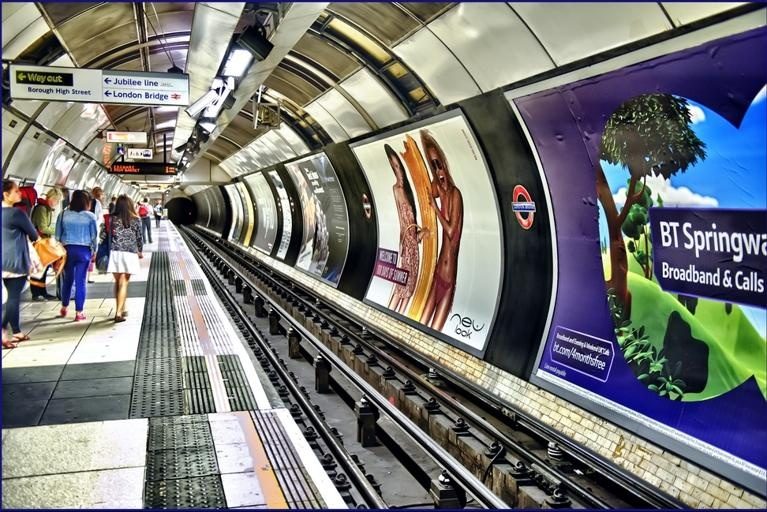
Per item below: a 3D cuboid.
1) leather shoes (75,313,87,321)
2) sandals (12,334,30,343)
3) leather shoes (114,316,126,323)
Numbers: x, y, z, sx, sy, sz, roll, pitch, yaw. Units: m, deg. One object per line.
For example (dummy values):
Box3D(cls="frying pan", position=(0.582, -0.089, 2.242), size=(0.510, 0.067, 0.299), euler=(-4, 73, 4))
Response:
Box3D(cls="leather shoes", position=(-7.181, 1.403, 8.984), size=(0.132, 0.145, 0.324), euler=(2, 5, 5))
Box3D(cls="sandals", position=(-7.129, 1.571, 7.451), size=(0.258, 0.099, 0.085), euler=(-3, 4, -44))
Box3D(cls="leather shoes", position=(-6.411, 1.484, 9.248), size=(0.110, 0.116, 0.300), euler=(2, 4, 1))
